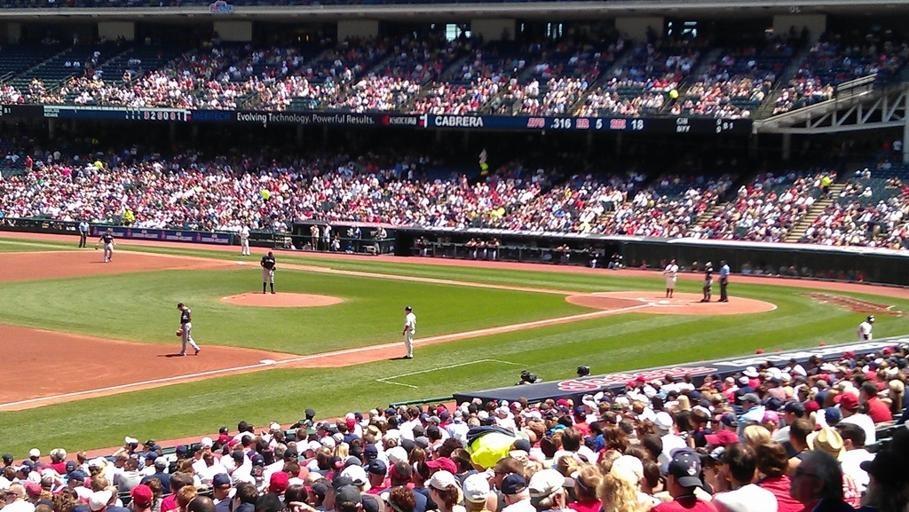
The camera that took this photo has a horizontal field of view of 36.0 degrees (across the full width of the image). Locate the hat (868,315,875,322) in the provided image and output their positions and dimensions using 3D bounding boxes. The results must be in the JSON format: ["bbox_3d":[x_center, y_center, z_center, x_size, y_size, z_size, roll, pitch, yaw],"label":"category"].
[{"bbox_3d":[24.748,3.723,83.116,0.382,0.392,0.432,4,41,25],"label":"hat"}]

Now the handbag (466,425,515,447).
[{"bbox_3d":[1.408,8.794,67.984,1.564,0.503,1.271,0,0,37],"label":"handbag"}]
